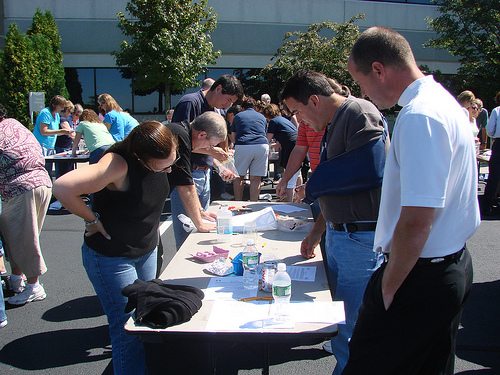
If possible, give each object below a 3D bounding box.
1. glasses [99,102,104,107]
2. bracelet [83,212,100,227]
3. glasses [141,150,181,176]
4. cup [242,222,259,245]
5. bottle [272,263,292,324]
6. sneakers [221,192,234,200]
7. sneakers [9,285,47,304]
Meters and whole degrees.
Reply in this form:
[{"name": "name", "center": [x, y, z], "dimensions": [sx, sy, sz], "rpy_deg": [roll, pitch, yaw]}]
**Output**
[{"name": "glasses", "center": [-2.646, -1.486, 8.151], "dimensions": [0.050, 0.079, 0.018], "rpy_deg": [15, 17, 32]}, {"name": "bracelet", "center": [-1.101, 0.225, 3.189], "dimensions": [0.085, 0.110, 0.054], "rpy_deg": [9, -10, -12]}, {"name": "glasses", "center": [-0.620, -0.152, 3.153], "dimensions": [0.157, 0.051, 0.169], "rpy_deg": [-22, -17, -47]}, {"name": "cup", "center": [-0.004, 0.369, 3.630], "dimensions": [0.134, 0.205, 0.138], "rpy_deg": [-1, -1, 0]}, {"name": "bottle", "center": [0.197, 0.635, 2.813], "dimensions": [0.120, 0.287, 0.269], "rpy_deg": [1, 9, 4]}, {"name": "sneakers", "center": [-0.402, 0.149, 7.904], "dimensions": [0.146, 0.063, 0.137], "rpy_deg": [15, 29, -10]}, {"name": "sneakers", "center": [-2.221, 1.064, 4.632], "dimensions": [0.376, 0.205, 0.149], "rpy_deg": [1, 4, -18]}]
